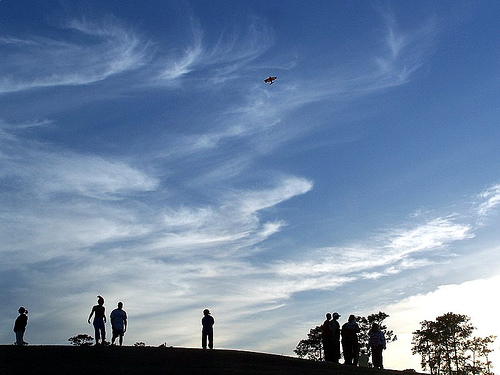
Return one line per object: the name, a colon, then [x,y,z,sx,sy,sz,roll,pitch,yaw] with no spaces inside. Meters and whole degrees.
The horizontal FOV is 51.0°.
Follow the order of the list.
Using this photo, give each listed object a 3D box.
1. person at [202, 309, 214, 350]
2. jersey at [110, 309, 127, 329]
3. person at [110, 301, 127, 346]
person: [-2.082,6.995,25.699,0.487,1.851,0.612,1,-23,-7]
jersey: [-6.253,6.266,24.873,0.659,0.858,0.435,5,-24,-17]
person: [-6.184,6.461,24.580,0.687,1.877,1.162,4,-24,-14]
